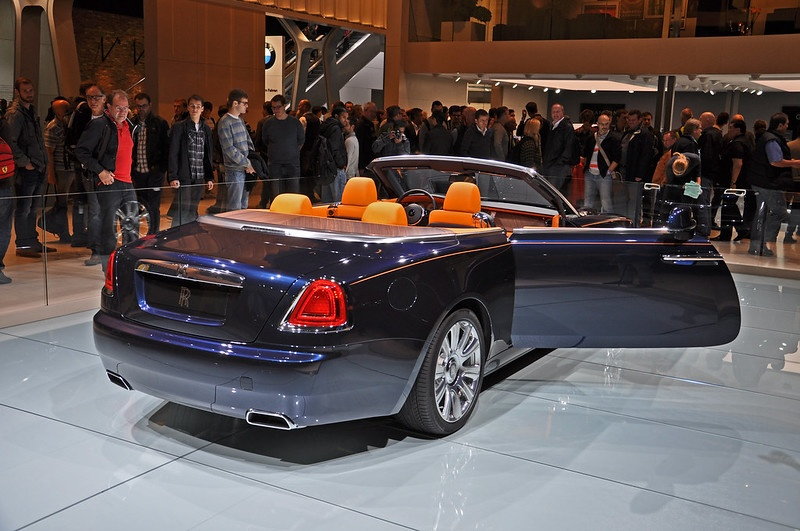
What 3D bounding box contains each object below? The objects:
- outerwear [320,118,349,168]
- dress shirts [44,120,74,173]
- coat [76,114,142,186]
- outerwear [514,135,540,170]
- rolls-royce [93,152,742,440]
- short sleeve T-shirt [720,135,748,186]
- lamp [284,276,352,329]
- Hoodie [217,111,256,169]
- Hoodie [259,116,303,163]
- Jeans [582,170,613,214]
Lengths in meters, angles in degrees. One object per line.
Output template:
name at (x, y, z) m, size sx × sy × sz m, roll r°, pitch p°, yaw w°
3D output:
outerwear at (-1.359, -2.434, 10.200) m, size 0.525 × 1.067 × 0.765 m, roll -15°, pitch 24°, yaw -2°
dress shirts at (-5.907, -2.030, 8.801) m, size 0.474 × 0.912 × 0.796 m, roll -8°, pitch 14°, yaw -23°
coat at (-4.287, -1.655, 7.443) m, size 0.631 × 1.115 × 1.188 m, roll 7°, pitch 13°, yaw 12°
outerwear at (2.878, -2.729, 11.983) m, size 0.478 × 0.836 × 0.903 m, roll -6°, pitch 27°, yaw -6°
rolls-royce at (0.389, 0.125, 4.058) m, size 2.708 × 1.157 × 3.831 m, roll 15°, pitch 19°, yaw 42°
short sleeve T-shirt at (7.188, -2.218, 10.973) m, size 0.520 × 1.062 × 0.884 m, roll 9°, pitch 16°, yaw 34°
lamp at (-0.396, 0.267, 3.423) m, size 0.475 × 0.276 × 0.736 m, roll 0°, pitch -3°, yaw 20°
Hoodie at (-2.730, -2.059, 8.477) m, size 0.474 × 0.909 × 0.666 m, roll 5°, pitch 22°, yaw 11°
Hoodie at (-2.262, -2.360, 9.749) m, size 0.833 × 1.016 × 0.578 m, roll -5°, pitch 18°, yaw -14°
Jeans at (4.091, -1.490, 10.603) m, size 0.547 × 1.272 × 0.348 m, roll 5°, pitch 43°, yaw 27°
